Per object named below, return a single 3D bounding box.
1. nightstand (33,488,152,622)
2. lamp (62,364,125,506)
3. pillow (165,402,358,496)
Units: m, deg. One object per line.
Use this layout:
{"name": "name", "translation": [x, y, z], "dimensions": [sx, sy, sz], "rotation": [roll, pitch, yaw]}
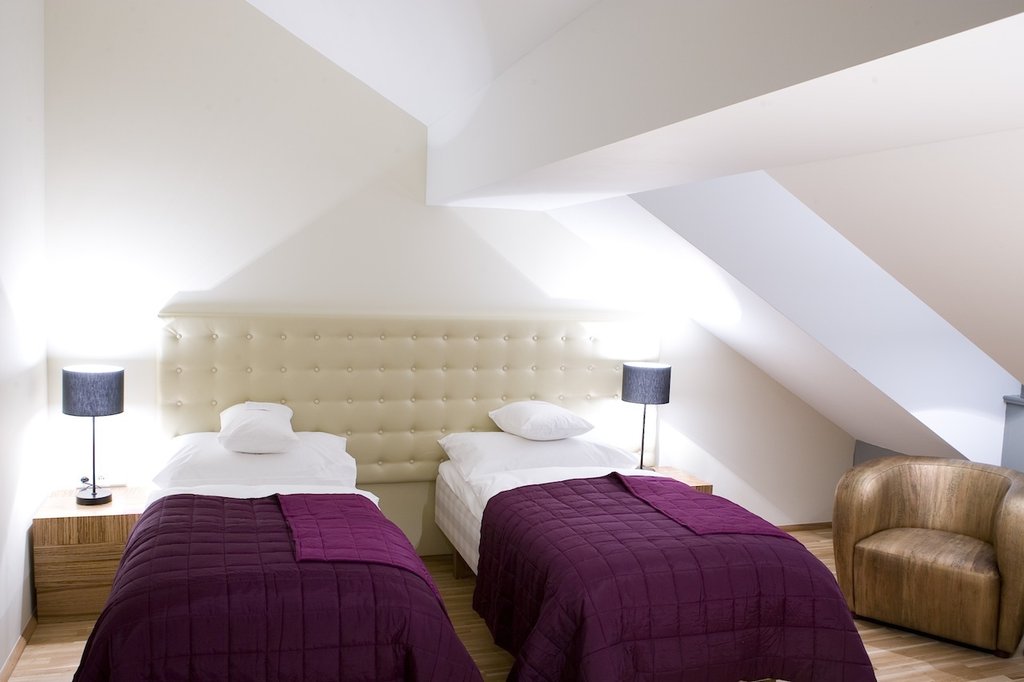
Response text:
{"name": "nightstand", "translation": [-2.256, 1.147, 4.095], "dimensions": [0.656, 0.611, 0.647], "rotation": [0, 6, -19]}
{"name": "lamp", "translation": [-2.253, 0.501, 3.928], "dimensions": [0.305, 0.742, 0.385], "rotation": [-1, -2, -32]}
{"name": "pillow", "translation": [-1.388, 0.576, 3.967], "dimensions": [1.028, 0.481, 0.624], "rotation": [-1, -2, -22]}
